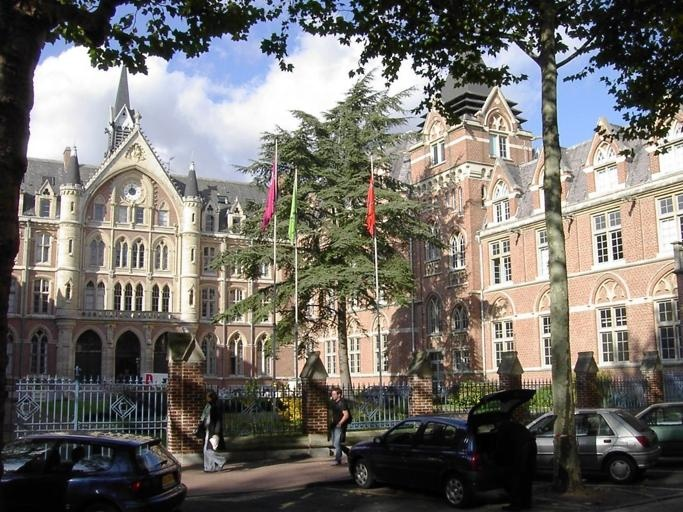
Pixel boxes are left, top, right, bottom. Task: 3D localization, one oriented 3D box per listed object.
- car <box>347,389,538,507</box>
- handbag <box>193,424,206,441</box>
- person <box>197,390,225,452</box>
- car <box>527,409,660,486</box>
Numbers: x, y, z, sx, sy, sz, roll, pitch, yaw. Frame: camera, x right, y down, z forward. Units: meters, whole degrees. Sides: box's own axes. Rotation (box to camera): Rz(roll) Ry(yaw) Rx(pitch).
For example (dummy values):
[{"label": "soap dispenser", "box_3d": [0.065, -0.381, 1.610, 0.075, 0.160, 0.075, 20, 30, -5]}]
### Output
[{"label": "car", "box_3d": [2.595, 4.189, 15.819, 2.081, 2.154, 4.045, 8, -10, -39]}, {"label": "handbag", "box_3d": [-3.919, 4.865, 19.567, 0.267, 0.448, 0.783, 1, -12, -10]}, {"label": "person", "box_3d": [-3.678, 4.616, 19.755, 0.735, 1.632, 0.880, 1, -12, -11]}, {"label": "car", "box_3d": [6.259, 4.661, 17.685, 3.203, 1.423, 1.797, -2, -6, 25]}]
